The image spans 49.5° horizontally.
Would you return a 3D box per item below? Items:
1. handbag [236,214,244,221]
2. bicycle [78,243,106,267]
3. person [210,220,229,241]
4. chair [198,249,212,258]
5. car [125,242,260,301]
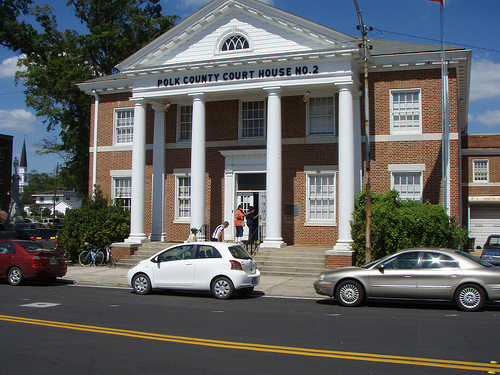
[{"bbox_3d":[-0.498,1.464,26.041,0.290,0.321,0.372,3,0,-16],"label":"handbag"},{"bbox_3d":[-7.913,3.371,27.294,1.352,1.169,0.682,0,5,11],"label":"bicycle"},{"bbox_3d":[-1.329,1.966,23.223,0.662,0.920,1.843,-1,5,0],"label":"person"},{"bbox_3d":[-1.545,2.277,18.407,0.300,0.337,0.297,0,-7,3],"label":"chair"},{"bbox_3d":[-1.868,2.844,19.013,3.539,1.400,1.978,1,-6,15],"label":"car"}]
